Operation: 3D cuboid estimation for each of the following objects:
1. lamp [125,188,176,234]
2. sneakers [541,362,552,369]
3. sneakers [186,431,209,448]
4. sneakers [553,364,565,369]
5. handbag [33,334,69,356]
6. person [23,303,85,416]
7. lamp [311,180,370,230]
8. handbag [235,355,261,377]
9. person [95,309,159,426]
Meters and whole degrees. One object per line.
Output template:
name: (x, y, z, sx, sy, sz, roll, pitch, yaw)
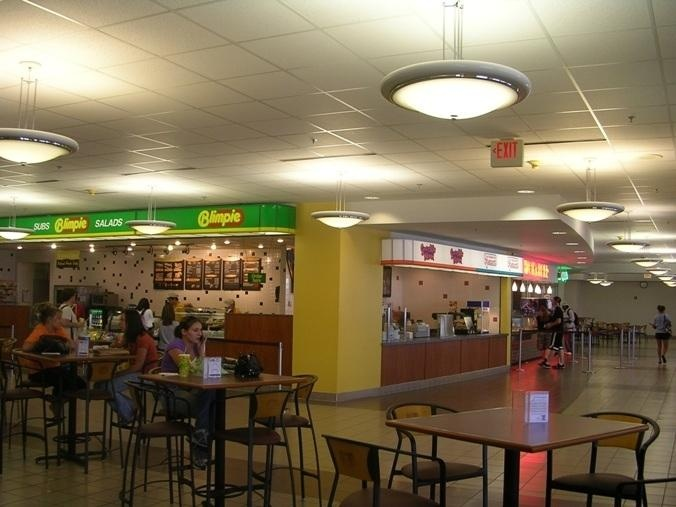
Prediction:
lamp: (-3.563, -0.827, 10.872, 1.085, 0.854, 1.082, 3, 1, 43)
sneakers: (6.266, 3.339, 16.660, 0.153, 0.121, 0.330, 3, 2, -6)
sneakers: (-1.437, 1.908, 5.725, 0.148, 0.190, 0.325, 1, -3, -19)
sneakers: (6.425, 3.265, 16.220, 0.120, 0.117, 0.340, 1, 0, -41)
handbag: (-3.446, 1.115, 6.716, 0.336, 0.108, 0.298, 3, -1, 16)
person: (-3.464, 1.341, 6.795, 0.658, 1.417, 1.196, 2, -4, -30)
lamp: (0.033, -0.792, 9.296, 0.901, 0.694, 0.902, 1, -1, 44)
handbag: (-0.837, 1.059, 5.256, 0.282, 0.201, 0.187, 2, -1, 28)
person: (-2.413, 1.336, 6.532, 0.553, 1.331, 2.011, 1, -3, -21)
